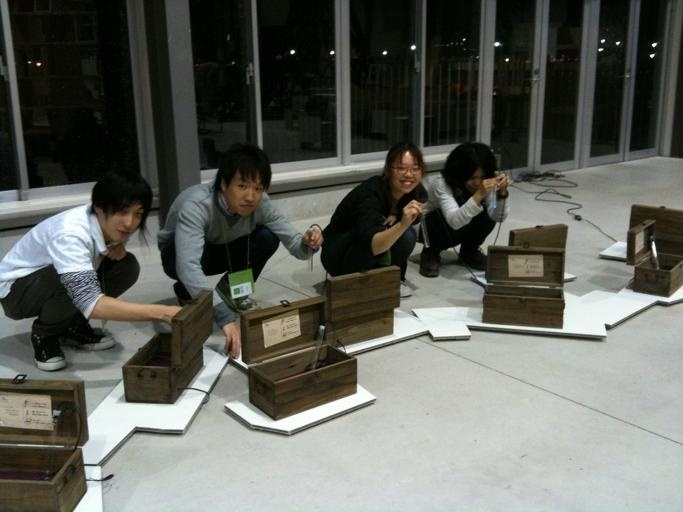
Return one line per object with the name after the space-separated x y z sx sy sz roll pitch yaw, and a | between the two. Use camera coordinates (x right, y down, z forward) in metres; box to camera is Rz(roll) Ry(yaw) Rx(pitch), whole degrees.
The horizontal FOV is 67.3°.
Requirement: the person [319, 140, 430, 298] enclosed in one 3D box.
0.219 -0.166 2.857 0.679 0.893 0.510 16 30 29 | person

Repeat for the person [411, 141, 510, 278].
0.777 -0.304 3.385 0.468 0.810 0.821 -8 19 -22 | person

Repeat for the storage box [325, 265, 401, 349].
0.100 0.250 2.372 0.342 0.309 0.098 -11 15 -30 | storage box

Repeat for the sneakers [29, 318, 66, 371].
-1.296 0.412 2.266 0.102 0.132 0.298 -4 6 -36 | sneakers

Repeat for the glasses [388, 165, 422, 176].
0.327 -0.434 2.632 0.160 0.048 0.049 -2 17 5 | glasses

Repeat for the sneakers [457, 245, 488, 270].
0.894 0.003 3.503 0.214 0.208 0.110 2 22 23 | sneakers

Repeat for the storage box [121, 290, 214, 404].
-0.705 0.389 2.096 0.191 0.291 0.333 9 23 8 | storage box

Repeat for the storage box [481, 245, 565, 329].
0.902 0.138 2.561 0.371 0.364 0.269 3 12 18 | storage box

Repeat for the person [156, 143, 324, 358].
-0.515 -0.079 2.590 0.713 0.965 0.973 -6 31 -22 | person
